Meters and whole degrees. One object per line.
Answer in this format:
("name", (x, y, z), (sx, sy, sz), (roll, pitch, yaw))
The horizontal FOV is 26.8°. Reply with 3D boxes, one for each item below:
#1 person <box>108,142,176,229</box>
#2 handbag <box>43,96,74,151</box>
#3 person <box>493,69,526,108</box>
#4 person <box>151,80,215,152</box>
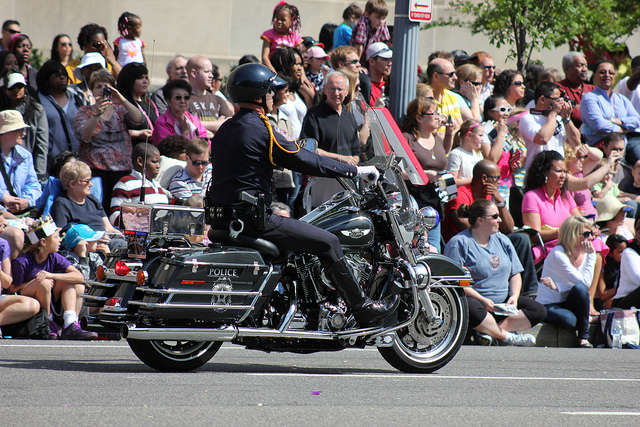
("person", (-2.573, -0.414, 19.646), (0.736, 1.189, 1.362), (-3, -3, 36))
("handbag", (-4.108, -1.495, 21.349), (0.488, 0.802, 0.126), (4, 2, 16))
("person", (3.486, -2.356, 24.652), (0.576, 0.690, 0.515), (-10, 4, -39))
("person", (-2.227, -1.521, 21.604), (0.985, 1.334, 0.794), (-4, -2, -34))
